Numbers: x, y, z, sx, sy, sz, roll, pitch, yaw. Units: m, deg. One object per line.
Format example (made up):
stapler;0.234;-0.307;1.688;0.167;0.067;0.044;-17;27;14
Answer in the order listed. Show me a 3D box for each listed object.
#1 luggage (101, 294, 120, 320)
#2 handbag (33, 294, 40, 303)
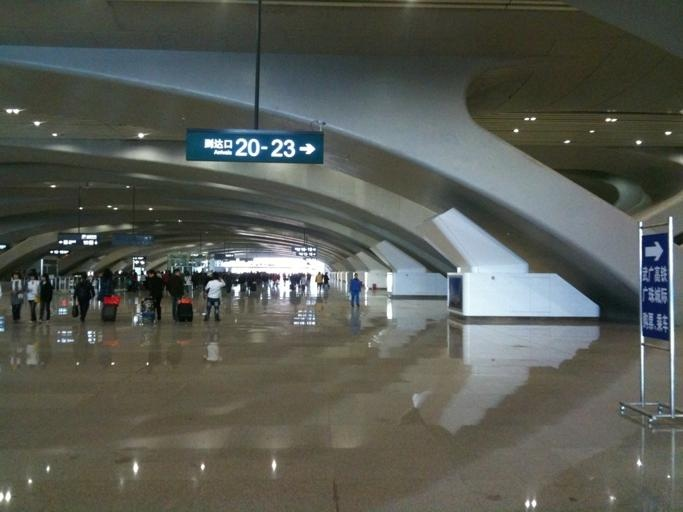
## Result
luggage;-7.966;1.763;20.253;0.630;1.095;0.639;3;-26;-15
handbag;-9.953;1.403;19.294;0.190;0.227;0.200;0;-11;10
